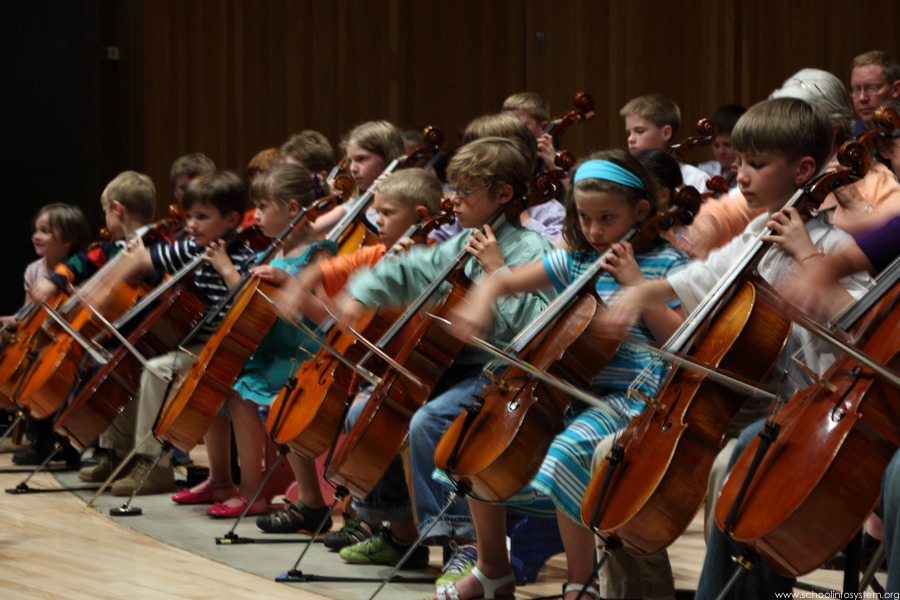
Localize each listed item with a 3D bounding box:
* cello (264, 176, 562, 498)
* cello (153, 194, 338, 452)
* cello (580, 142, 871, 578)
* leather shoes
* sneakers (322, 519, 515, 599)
[{"bbox_3d":[-0.260,0.251,2.999,0.490,1.555,0.620,38,5,-17],"label":"cello"},{"bbox_3d":[-0.953,0.055,3.800,0.263,1.457,0.535,33,-11,-19],"label":"cello"},{"bbox_3d":[0.704,0.114,2.106,0.658,1.096,0.268,4,-3,-1],"label":"cello"},{"bbox_3d":[-0.881,0.942,3.694,0.617,0.137,0.154,10,31,28],"label":"leather shoes"},{"bbox_3d":[-0.095,0.928,2.911,0.528,0.227,0.186,17,-4,4],"label":"sneakers"}]
